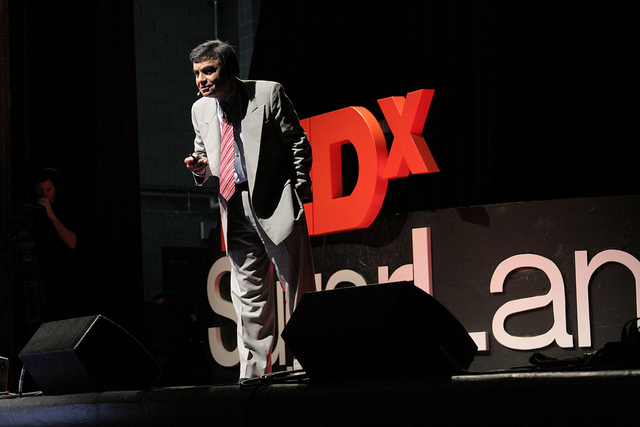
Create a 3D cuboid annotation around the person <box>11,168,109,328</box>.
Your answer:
[{"bbox_3d":[-2.162,0.275,7.324,0.660,0.940,0.234,2,-1,-20],"label":"person"}]

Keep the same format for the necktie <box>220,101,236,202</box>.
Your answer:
[{"bbox_3d":[-0.527,-0.324,4.989,0.106,0.503,0.114,-1,7,-9],"label":"necktie"}]

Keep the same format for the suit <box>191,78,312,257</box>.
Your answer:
[{"bbox_3d":[-0.406,-0.255,5.037,0.672,0.953,0.521,-13,-2,20],"label":"suit"}]

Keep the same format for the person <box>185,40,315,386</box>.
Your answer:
[{"bbox_3d":[-0.387,-0.030,5.004,0.751,1.849,0.299,1,-1,8],"label":"person"}]
